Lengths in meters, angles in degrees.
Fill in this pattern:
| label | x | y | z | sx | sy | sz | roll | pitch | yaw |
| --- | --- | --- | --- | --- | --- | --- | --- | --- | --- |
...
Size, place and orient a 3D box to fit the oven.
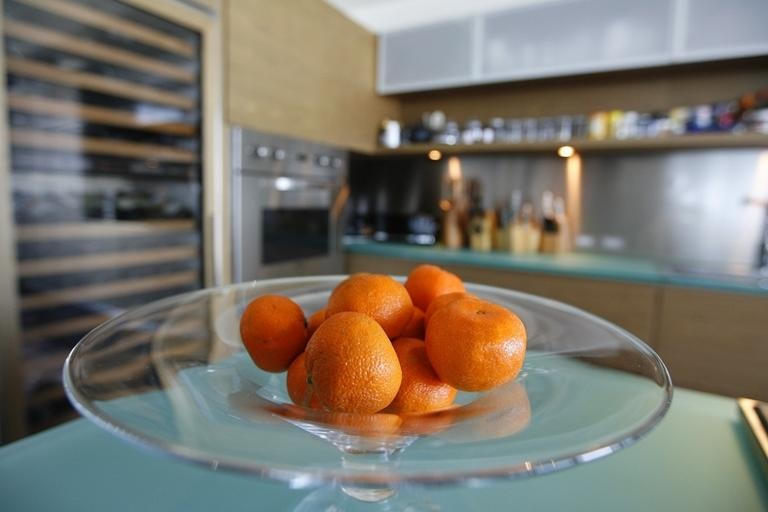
| label | x | y | z | sx | sy | sz | roll | pitch | yaw |
| --- | --- | --- | --- | --- | --- | --- | --- | --- | --- |
| oven | -0.654 | -0.218 | 2.558 | 0.476 | 0.804 | 0.878 | 6 | 8 | 29 |
